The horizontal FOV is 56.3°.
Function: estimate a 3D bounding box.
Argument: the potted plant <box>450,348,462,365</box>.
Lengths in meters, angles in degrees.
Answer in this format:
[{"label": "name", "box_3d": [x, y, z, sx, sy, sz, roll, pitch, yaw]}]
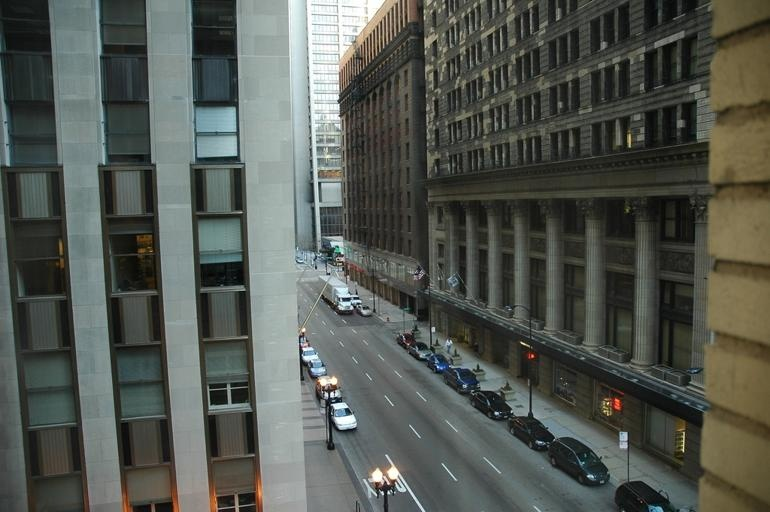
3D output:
[{"label": "potted plant", "box_3d": [6.745, 9.440, 66.582, 1.176, 1.617, 1.196, -2, -3, -14]}]

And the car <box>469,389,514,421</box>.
[{"label": "car", "box_3d": [8.163, 11.270, 54.168, 1.532, 1.224, 3.705, -6, 10, -22]}]

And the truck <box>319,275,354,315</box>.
[{"label": "truck", "box_3d": [-6.649, 5.186, 97.881, 2.522, 3.491, 11.075, -4, 6, -13]}]

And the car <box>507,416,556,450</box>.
[{"label": "car", "box_3d": [10.082, 12.017, 49.002, 1.389, 1.345, 3.645, -6, 10, -23]}]

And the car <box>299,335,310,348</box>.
[{"label": "car", "box_3d": [-8.173, 8.631, 72.564, 1.240, 0.964, 2.754, -1, 10, -5]}]

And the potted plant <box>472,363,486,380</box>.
[{"label": "potted plant", "box_3d": [8.058, 9.977, 61.597, 1.108, 1.526, 1.182, -2, -3, -9]}]

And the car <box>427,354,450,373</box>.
[{"label": "car", "box_3d": [4.791, 9.733, 64.841, 0.993, 0.760, 2.200, -4, 4, -12]}]

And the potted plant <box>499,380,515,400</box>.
[{"label": "potted plant", "box_3d": [9.905, 10.732, 57.325, 1.179, 1.600, 1.217, -1, -2, -29]}]

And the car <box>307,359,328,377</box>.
[{"label": "car", "box_3d": [-6.075, 10.351, 64.948, 1.277, 1.317, 2.908, -5, 10, -18]}]

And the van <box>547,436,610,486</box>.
[{"label": "van", "box_3d": [11.998, 12.698, 44.588, 1.757, 1.388, 3.470, -5, 5, -21]}]

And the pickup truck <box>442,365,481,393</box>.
[{"label": "pickup truck", "box_3d": [6.573, 10.357, 59.630, 1.776, 1.303, 3.955, -5, 10, -19]}]

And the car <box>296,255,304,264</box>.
[{"label": "car", "box_3d": [-17.558, 0.721, 148.762, 1.829, 0.855, 2.864, -5, 12, -24]}]

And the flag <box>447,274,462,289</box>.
[{"label": "flag", "box_3d": [6.432, 2.280, 65.552, 0.471, 1.390, 1.770, -9, -10, -9]}]
